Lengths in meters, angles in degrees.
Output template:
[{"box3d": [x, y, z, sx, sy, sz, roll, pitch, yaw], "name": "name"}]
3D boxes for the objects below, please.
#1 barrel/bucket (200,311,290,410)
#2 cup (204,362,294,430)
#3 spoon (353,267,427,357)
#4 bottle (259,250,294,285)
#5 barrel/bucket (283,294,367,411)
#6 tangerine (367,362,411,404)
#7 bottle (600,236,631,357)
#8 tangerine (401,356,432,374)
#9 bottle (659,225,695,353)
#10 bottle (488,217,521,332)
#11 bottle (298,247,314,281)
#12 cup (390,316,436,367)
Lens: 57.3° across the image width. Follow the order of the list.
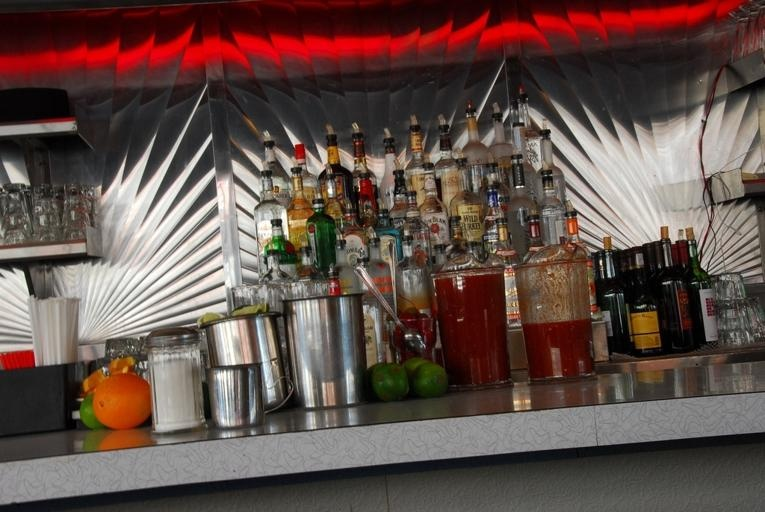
[{"box3d": [-0.338, 0.265, 1.921, 0.259, 0.259, 0.249, -8, -8, -1], "name": "barrel/bucket"}, {"box3d": [-0.343, 0.347, 1.730, 0.180, 0.127, 0.110, -1, -11, -10], "name": "cup"}, {"box3d": [0.019, 0.169, 2.034, 0.051, 0.291, 0.040, -34, -3, -24], "name": "spoon"}, {"box3d": [-0.312, 0.032, 2.123, 0.100, 0.114, 0.104, -2, 3, 43], "name": "bottle"}, {"box3d": [-0.153, 0.250, 1.865, 0.258, 0.292, 0.279, -5, -6, 0], "name": "barrel/bucket"}, {"box3d": [0.020, 0.342, 1.897, 0.102, 0.105, 0.104, -4, -10, 7], "name": "tangerine"}, {"box3d": [0.830, 0.162, 2.515, 0.091, 0.374, 0.068, -7, -7, 16], "name": "bottle"}, {"box3d": [0.094, 0.299, 1.961, 0.049, 0.046, 0.051, -1, 0, 29], "name": "tangerine"}, {"box3d": [1.040, 0.132, 2.488, 0.127, 0.405, 0.081, -5, -7, -1], "name": "bottle"}, {"box3d": [0.383, 0.042, 2.184, 0.085, 0.357, 0.373, -6, -7, 9], "name": "bottle"}, {"box3d": [-0.231, 0.020, 2.081, 0.043, 0.103, 0.085, -4, -7, -7], "name": "bottle"}, {"box3d": [0.096, 0.248, 2.032, 0.137, 0.154, 0.137, -1, -8, 0], "name": "cup"}]
